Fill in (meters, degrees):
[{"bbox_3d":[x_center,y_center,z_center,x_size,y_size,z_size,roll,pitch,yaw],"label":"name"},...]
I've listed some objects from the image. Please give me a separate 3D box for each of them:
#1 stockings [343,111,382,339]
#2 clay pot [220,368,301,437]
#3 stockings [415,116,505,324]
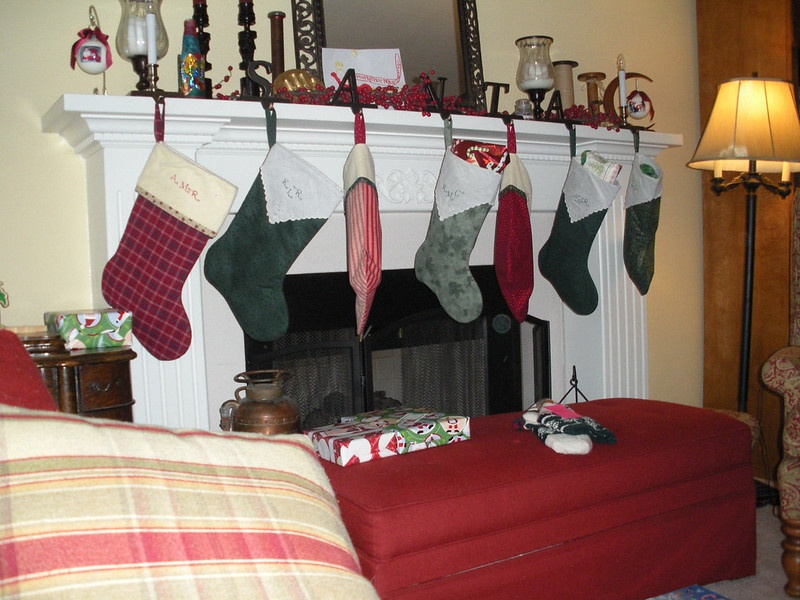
[{"bbox_3d":[-0.113,-0.194,2.386,0.100,0.561,0.173,-4,9,-3],"label":"stockings"},{"bbox_3d":[-0.399,0.283,2.192,0.233,0.200,0.214,1,5,0],"label":"clay pot"},{"bbox_3d":[0.201,-0.217,2.480,0.289,0.561,0.110,-2,9,11],"label":"stockings"}]
